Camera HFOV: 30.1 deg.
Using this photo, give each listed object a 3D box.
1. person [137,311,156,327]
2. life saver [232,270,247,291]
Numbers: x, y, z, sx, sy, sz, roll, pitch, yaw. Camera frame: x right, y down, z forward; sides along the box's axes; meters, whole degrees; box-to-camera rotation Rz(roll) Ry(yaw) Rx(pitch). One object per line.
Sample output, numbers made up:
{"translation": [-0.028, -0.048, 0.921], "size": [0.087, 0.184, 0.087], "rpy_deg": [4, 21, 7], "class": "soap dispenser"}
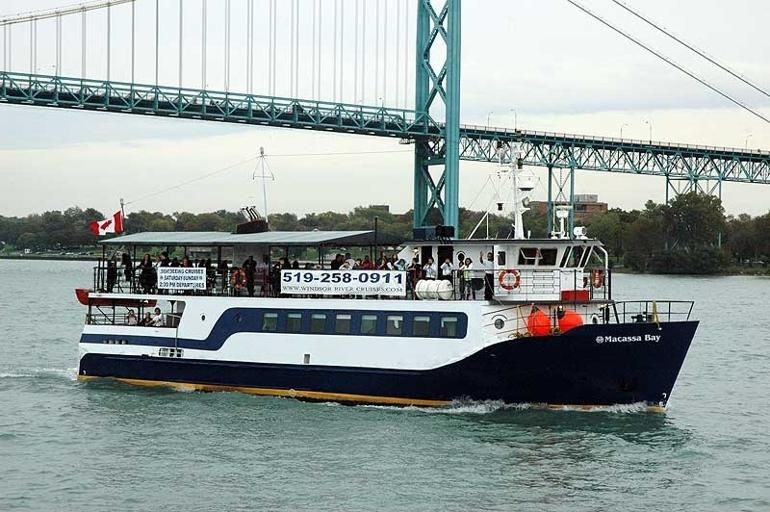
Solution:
{"translation": [-13.014, 3.395, 78.736], "size": [0.859, 1.551, 0.818], "rpy_deg": [2, -15, -6], "class": "person"}
{"translation": [-7.689, 1.216, 76.313], "size": [0.728, 1.069, 0.415], "rpy_deg": [5, -1, 11], "class": "life saver"}
